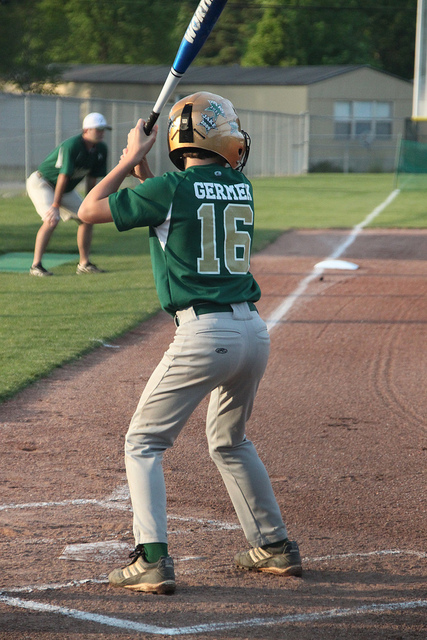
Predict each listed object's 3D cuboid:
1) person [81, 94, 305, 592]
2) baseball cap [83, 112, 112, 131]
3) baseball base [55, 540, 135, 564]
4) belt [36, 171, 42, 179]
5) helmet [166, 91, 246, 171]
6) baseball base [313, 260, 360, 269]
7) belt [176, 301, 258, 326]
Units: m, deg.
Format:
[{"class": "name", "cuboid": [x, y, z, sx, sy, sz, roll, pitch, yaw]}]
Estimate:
[{"class": "person", "cuboid": [-0.064, 0.066, 3.242, 0.826, 1.742, 0.925, 1, 15, -2]}, {"class": "baseball cap", "cuboid": [-1.161, -1.947, 8.685, 0.304, 0.134, 0.180, -4, 7, -10]}, {"class": "baseball base", "cuboid": [-0.451, 0.885, 3.393, 0.283, 0.020, 0.209, 1, 13, 1]}, {"class": "belt", "cuboid": [-1.857, -1.535, 9.385, 0.030, 0.063, 0.052, 1, -6, -41]}, {"class": "helmet", "cuboid": [-0.025, -0.691, 3.251, 0.282, 0.248, 0.359, 4, 0, 25]}, {"class": "baseball base", "cuboid": [1.397, -0.631, 10.140, 0.512, 0.046, 0.593, 3, 13, 6]}, {"class": "belt", "cuboid": [0.031, -0.008, 3.014, 0.141, 0.038, 0.146, -14, -13, 33]}]
